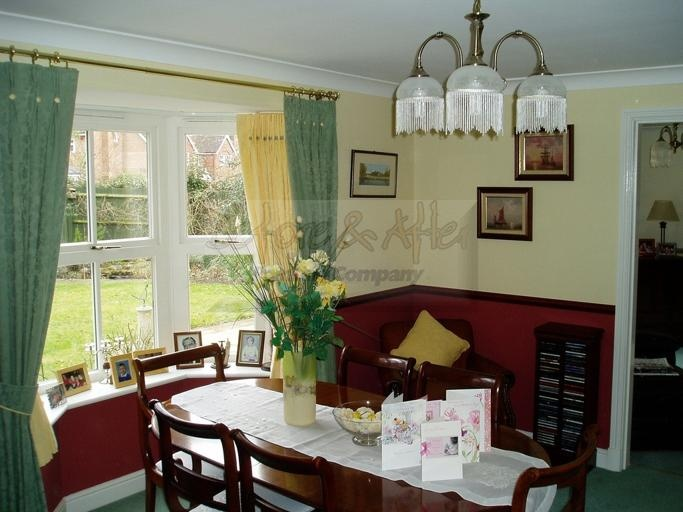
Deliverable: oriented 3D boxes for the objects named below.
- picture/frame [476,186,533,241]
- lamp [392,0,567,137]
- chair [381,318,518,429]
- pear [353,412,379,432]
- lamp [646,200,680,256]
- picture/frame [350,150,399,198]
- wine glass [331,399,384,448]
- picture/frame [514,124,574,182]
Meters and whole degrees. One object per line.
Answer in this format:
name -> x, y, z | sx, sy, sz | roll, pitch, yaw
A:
picture/frame -> 1.464, -0.384, 4.614 | 0.456, 0.481, 0.050 | 3, 4, 35
lamp -> 0.586, -0.618, 2.481 | 0.662, 0.809, 0.683 | 0, 1, -28
chair -> 0.948, 0.838, 4.159 | 0.907, 1.117, 0.961 | -2, -6, -8
pear -> 0.131, 0.811, 2.553 | 0.077, 0.037, 0.079 | 2, 3, 41
lamp -> 3.612, -0.354, 5.855 | 0.312, 0.553, 0.516 | 7, 14, 33
picture/frame -> 0.276, -0.739, 4.661 | 0.461, 0.339, 0.020 | -3, 3, -45
wine glass -> 0.082, 0.832, 2.634 | 0.187, 0.090, 0.189 | 0, 2, -18
picture/frame -> 1.624, -0.815, 4.114 | 0.537, 0.569, 0.039 | 3, 5, 34
